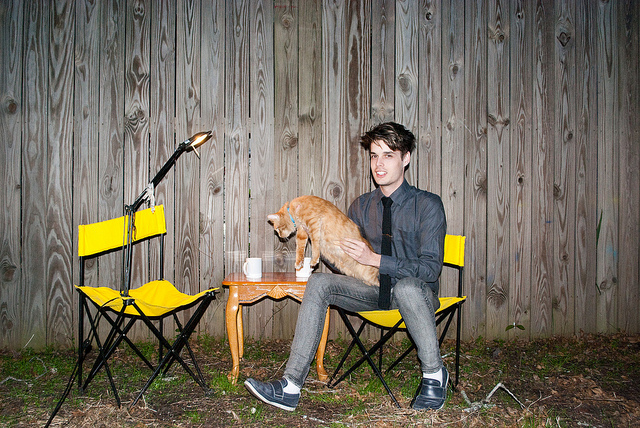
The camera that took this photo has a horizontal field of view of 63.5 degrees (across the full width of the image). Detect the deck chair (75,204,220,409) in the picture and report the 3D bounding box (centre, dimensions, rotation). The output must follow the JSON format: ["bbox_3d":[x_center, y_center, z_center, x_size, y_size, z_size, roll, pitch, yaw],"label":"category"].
[{"bbox_3d":[-1.500,0.774,4.463,0.904,1.691,1.037,-3,3,-35],"label":"deck chair"}]

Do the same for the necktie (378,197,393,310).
[{"bbox_3d":[0.567,0.324,4.456,0.096,1.000,0.162,10,-17,-20],"label":"necktie"}]

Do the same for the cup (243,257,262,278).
[{"bbox_3d":[-0.618,0.501,4.760,0.172,0.190,0.120,0,2,-24],"label":"cup"}]

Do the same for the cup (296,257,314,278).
[{"bbox_3d":[-0.146,0.503,4.756,0.169,0.217,0.143,0,-3,-8],"label":"cup"}]

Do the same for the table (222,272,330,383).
[{"bbox_3d":[-0.415,1.057,4.949,0.913,1.025,0.743,0,2,-9],"label":"table"}]

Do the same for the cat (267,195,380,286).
[{"bbox_3d":[0.168,0.216,4.658,1.307,0.706,0.356,8,-21,11],"label":"cat"}]
